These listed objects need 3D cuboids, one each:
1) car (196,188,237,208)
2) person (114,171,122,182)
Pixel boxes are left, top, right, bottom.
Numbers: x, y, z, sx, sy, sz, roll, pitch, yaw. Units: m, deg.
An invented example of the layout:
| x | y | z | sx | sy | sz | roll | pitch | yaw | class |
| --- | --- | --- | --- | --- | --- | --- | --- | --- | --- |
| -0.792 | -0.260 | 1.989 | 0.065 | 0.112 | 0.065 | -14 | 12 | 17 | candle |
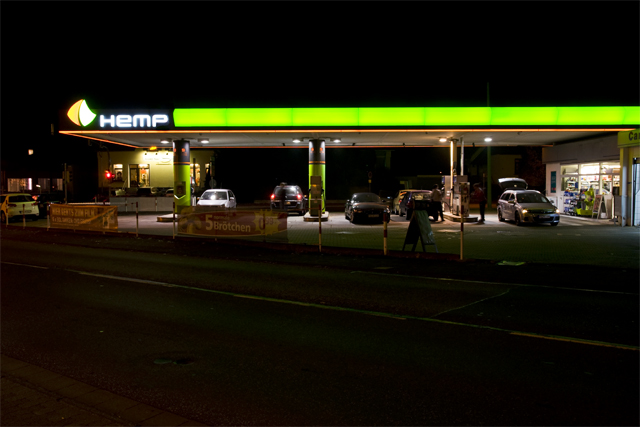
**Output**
| x | y | z | sx | sy | sz | roll | pitch | yaw | class |
| --- | --- | --- | --- | --- | --- | --- | --- | --- | --- |
| -5.823 | -0.889 | 32.409 | 1.153 | 0.865 | 1.904 | -1 | -3 | 0 | car |
| -16.580 | -3.090 | 46.793 | 0.714 | 0.911 | 0.511 | 2 | 11 | 5 | person |
